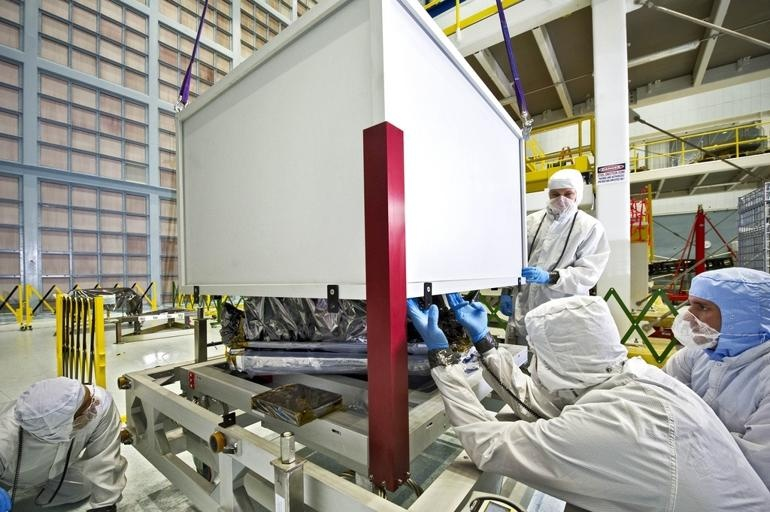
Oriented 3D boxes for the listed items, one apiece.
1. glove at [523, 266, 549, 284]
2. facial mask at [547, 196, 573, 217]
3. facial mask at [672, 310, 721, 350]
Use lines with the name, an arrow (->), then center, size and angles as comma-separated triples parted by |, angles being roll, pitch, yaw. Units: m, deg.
glove -> 1.803, 0.230, 5.425 | 0.292, 0.188, 0.513 | -6, -3, 20
facial mask -> 2.188, -0.617, 5.718 | 0.247, 0.228, 0.244 | 0, -37, 38
facial mask -> 2.939, 0.676, 4.220 | 0.313, 0.376, 0.283 | -20, -36, 27
